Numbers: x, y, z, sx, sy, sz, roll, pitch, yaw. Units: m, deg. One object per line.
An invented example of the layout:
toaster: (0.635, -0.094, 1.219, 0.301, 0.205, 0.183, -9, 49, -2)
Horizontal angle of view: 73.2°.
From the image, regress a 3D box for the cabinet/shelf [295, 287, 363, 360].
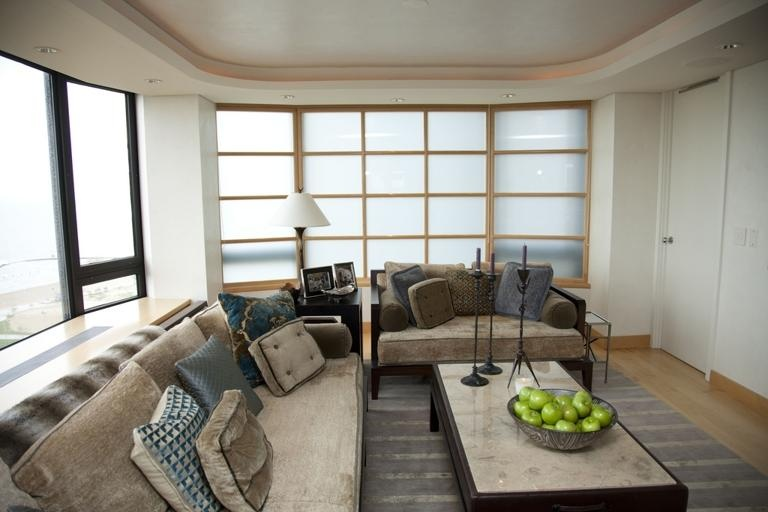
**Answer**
cabinet/shelf: (-0.416, 0.556, 4.674, 0.734, 0.623, 0.489, -1, 4, -4)

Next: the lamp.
lamp: (-0.781, -0.143, 4.913, 0.561, 0.861, 0.587, 8, 14, 41)

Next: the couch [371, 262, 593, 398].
couch: (0.856, 0.669, 4.960, 1.910, 0.961, 1.073, -2, 9, 4)

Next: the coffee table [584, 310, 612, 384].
coffee table: (2.091, 0.897, 5.074, 0.239, 0.577, 0.652, -1, 6, 7)

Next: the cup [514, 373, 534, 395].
cup: (0.957, 0.865, 3.562, 0.161, 0.155, 0.163, 0, -4, 0)

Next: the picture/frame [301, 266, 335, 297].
picture/frame: (-0.600, 0.237, 4.720, 0.258, 0.202, 0.027, -10, -1, -40)

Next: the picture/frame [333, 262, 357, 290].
picture/frame: (-0.369, 0.197, 4.924, 0.028, 0.252, 0.254, -17, -5, 39)

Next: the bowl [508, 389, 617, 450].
bowl: (1.097, 1.044, 3.257, 0.659, 0.200, 0.638, -1, 9, 0)
